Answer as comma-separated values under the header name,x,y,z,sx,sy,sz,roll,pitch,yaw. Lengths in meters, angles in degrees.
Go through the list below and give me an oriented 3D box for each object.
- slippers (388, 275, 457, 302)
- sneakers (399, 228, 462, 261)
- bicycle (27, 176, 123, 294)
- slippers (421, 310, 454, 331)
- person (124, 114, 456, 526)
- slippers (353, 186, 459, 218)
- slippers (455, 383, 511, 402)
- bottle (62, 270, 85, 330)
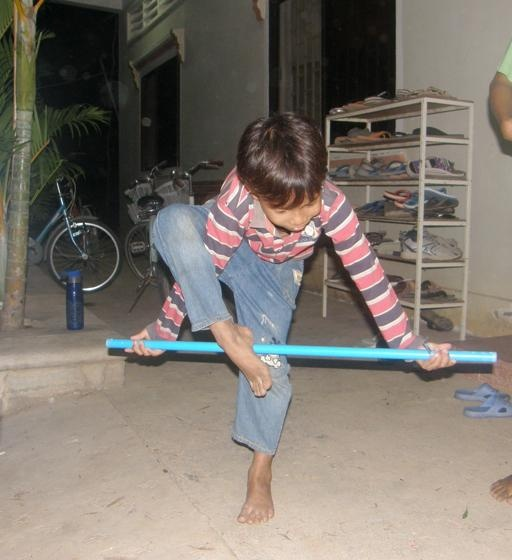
name,x,y,z,sx,sy,sz,roll,pitch,yaw
slippers,1.197,0.058,4.026,0.317,0.092,0.212,3,4,-23
sneakers,1.180,-0.213,3.857,0.297,0.107,0.303,3,10,5
bicycle,-1.876,-0.474,5.948,0.870,1.161,2.481,-3,10,-19
slippers,1.263,0.279,4.046,0.101,0.082,0.216,-35,42,-22
person,0.027,0.133,1.841,0.873,1.235,0.550,7,12,35
slippers,1.062,-0.517,4.017,0.373,0.130,0.455,-3,3,-9
slippers,1.141,0.559,2.893,0.217,0.064,0.108,-1,1,-6
bottle,-1.075,0.121,3.437,0.096,0.324,0.265,-3,10,-18
